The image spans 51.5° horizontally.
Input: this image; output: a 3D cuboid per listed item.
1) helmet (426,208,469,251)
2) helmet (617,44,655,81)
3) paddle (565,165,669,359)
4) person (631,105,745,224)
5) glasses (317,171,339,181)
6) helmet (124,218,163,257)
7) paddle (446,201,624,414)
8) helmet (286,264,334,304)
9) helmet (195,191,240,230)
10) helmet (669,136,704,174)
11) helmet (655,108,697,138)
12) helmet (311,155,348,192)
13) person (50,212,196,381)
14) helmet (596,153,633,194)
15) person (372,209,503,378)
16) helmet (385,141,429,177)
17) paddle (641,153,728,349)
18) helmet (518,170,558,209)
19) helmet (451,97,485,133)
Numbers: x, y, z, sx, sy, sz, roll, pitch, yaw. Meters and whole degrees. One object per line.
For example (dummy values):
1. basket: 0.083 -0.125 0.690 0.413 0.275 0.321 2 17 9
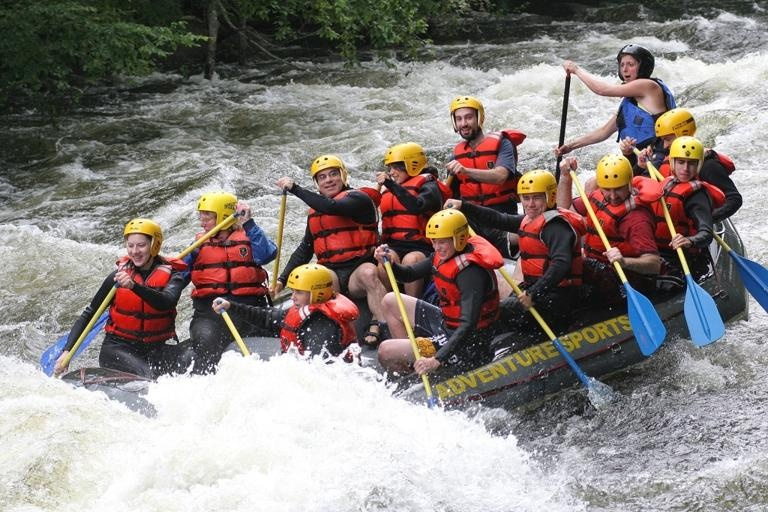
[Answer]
1. helmet: 0.596 -0.249 7.682 0.391 0.377 0.474 9 22 33
2. helmet: 2.907 -2.225 9.144 0.335 0.379 0.364 6 27 40
3. paddle: 2.246 -0.015 8.098 0.434 2.292 0.168 -32 -23 13
4. person: 3.276 -1.060 8.626 1.172 0.669 1.441 -12 40 16
5. glasses: -0.613 -0.857 8.489 0.111 0.045 0.131 -17 -4 3
6. helmet: -2.404 -0.217 8.138 0.373 0.402 0.363 9 34 -12
7. paddle: 1.507 0.572 7.760 0.444 2.807 0.137 -50 -20 24
8. helmet: -0.729 0.251 7.791 0.487 0.331 0.370 -10 21 -32
9. helmet: -1.792 -0.525 8.574 0.461 0.298 0.313 -4 12 -33
10. helmet: 3.135 -1.094 8.327 0.330 0.340 0.378 1 16 -3
11. helmet: 3.193 -1.443 8.683 0.407 0.263 0.290 0 -5 1
12. helmet: -0.614 -0.871 8.619 0.370 0.339 0.446 -21 -6 0
13. person: -2.543 0.617 8.027 1.376 1.772 1.165 0 4 11
14. helmet: 2.341 -0.831 8.065 0.381 0.377 0.484 3 28 28
15. person: 0.523 0.353 7.629 1.302 1.465 1.106 -10 21 7
16. helmet: 0.282 -1.076 8.784 0.476 0.311 0.318 -4 12 -12
17. paddle: 2.969 -0.144 8.226 0.454 2.358 0.202 -19 -33 11
18. helmet: 1.494 -0.671 8.035 0.441 0.324 0.329 -22 11 -14
19. helmet: 0.990 -1.675 9.145 0.352 0.315 0.433 3 4 29
